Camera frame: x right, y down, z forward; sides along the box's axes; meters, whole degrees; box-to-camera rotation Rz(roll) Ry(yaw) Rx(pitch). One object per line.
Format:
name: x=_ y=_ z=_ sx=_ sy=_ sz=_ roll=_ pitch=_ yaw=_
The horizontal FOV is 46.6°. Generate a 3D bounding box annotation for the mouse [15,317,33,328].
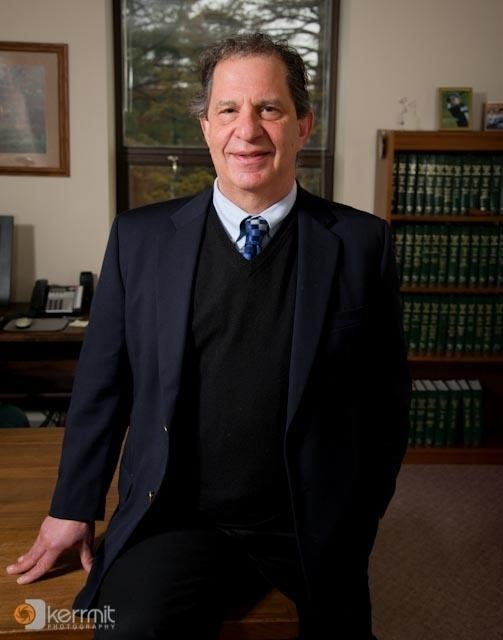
mouse: x=-1.169 y=0.008 z=2.993 sx=0.052 sy=0.023 sz=0.067 roll=2 pitch=8 yaw=2

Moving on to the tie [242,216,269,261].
tie: x=0.003 y=-0.171 z=1.266 sx=0.059 sy=0.093 sz=0.026 roll=6 pitch=-7 yaw=1
